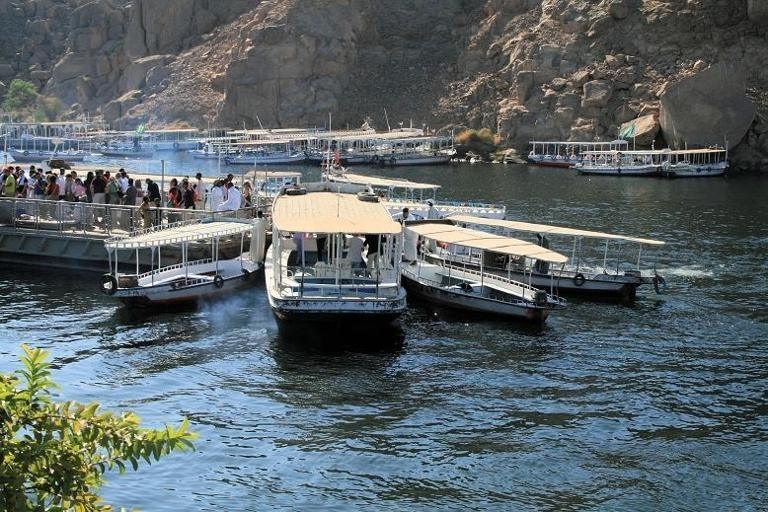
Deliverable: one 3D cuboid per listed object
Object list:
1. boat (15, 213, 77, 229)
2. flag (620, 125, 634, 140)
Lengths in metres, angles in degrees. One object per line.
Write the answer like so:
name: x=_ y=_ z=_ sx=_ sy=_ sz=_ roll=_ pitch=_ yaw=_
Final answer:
boat: x=-17.291 y=-1.752 z=48.482 sx=3.145 sy=0.763 sz=1.044 roll=1 pitch=5 yaw=22
flag: x=27.337 y=-14.032 z=107.499 sx=1.387 sy=1.557 sz=1.754 roll=-2 pitch=5 yaw=-10
